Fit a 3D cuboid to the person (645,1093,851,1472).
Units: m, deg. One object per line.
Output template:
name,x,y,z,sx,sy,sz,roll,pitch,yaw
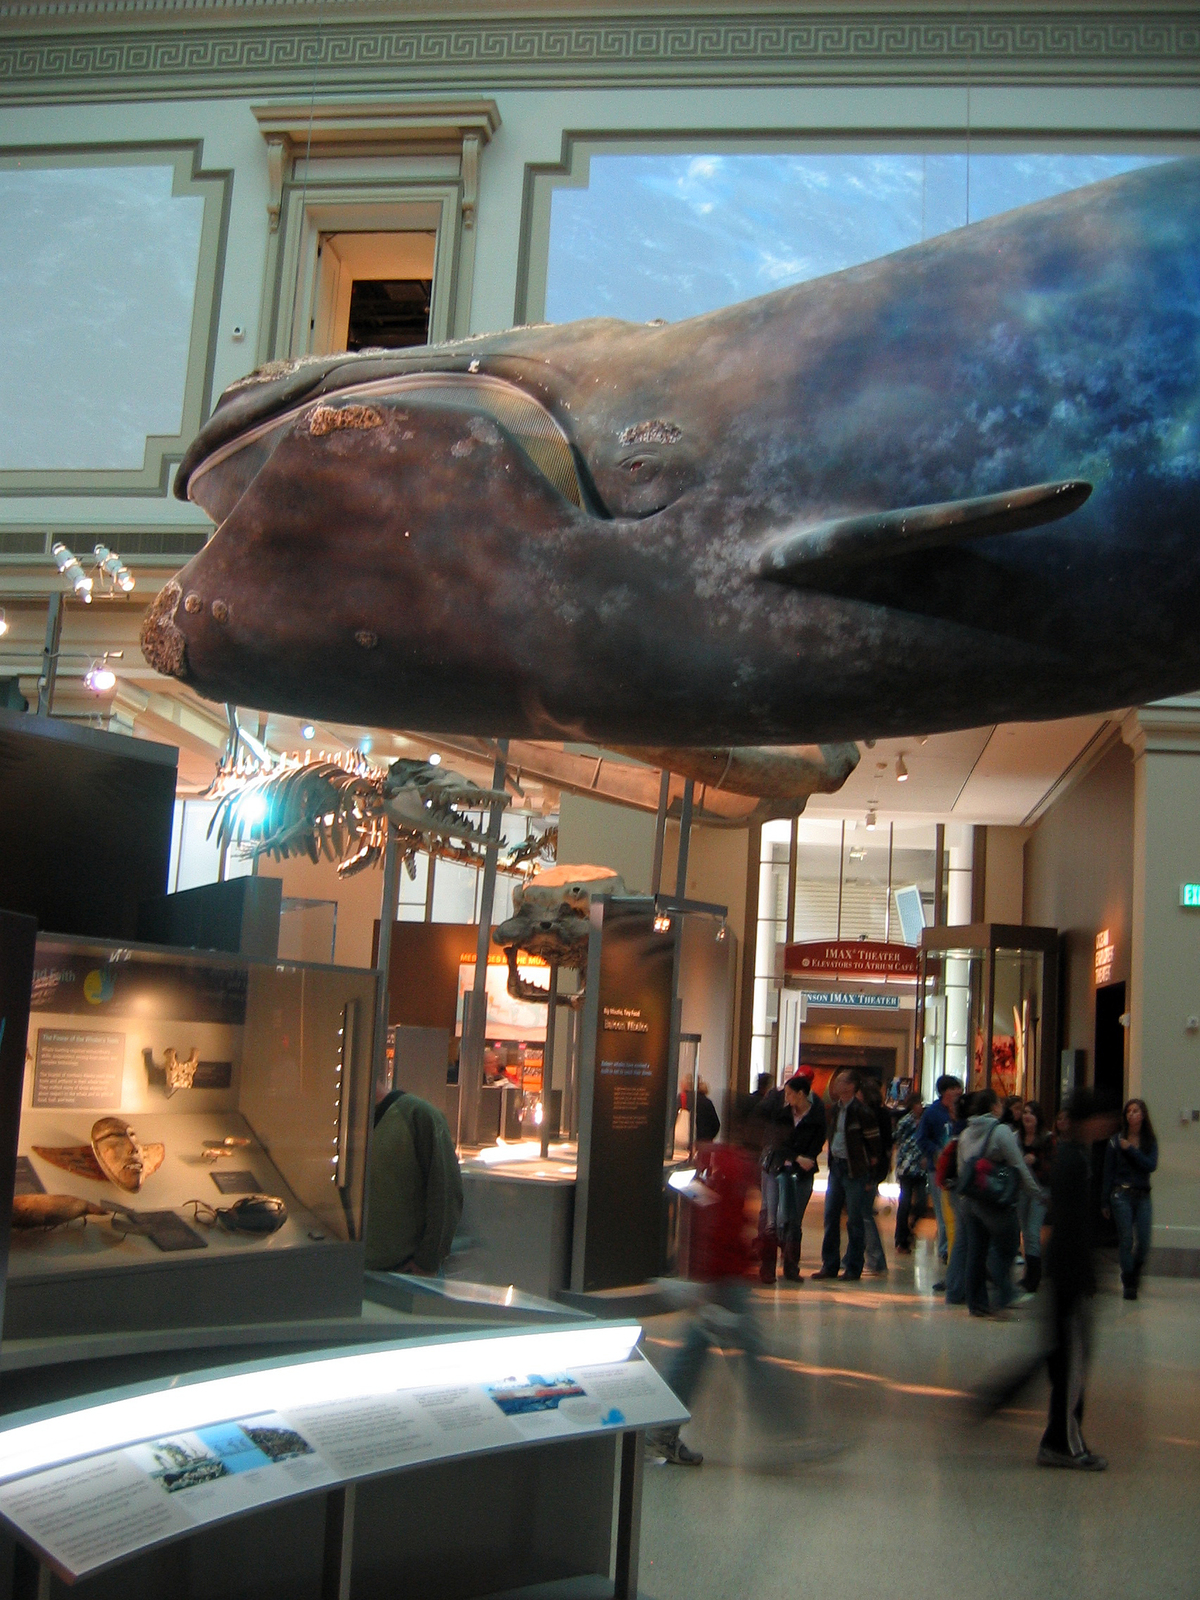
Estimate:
person,0.627,2.150,5.629,0.862,1.774,0.519,4,-2,-6
